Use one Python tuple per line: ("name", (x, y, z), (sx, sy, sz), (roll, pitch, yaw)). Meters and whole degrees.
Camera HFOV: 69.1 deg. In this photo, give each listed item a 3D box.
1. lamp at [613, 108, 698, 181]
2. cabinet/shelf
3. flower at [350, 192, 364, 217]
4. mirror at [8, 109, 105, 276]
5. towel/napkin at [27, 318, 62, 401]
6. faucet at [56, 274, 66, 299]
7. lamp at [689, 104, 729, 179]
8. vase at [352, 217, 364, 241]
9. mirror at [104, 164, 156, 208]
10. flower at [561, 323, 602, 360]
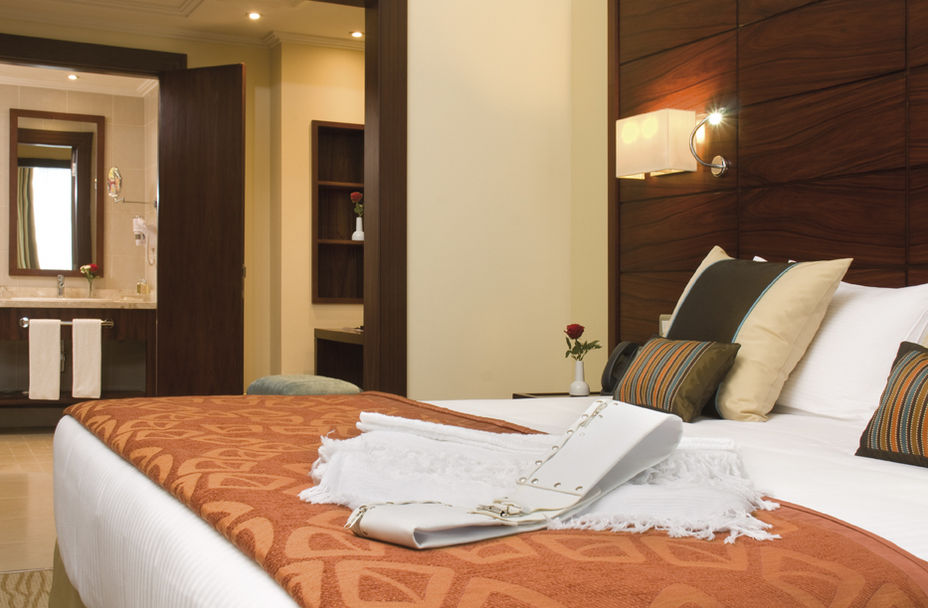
("lamp", (1.041, -0.862, 3.624), (0.222, 0.328, 0.417), (-1, 5, -28))
("cabinet/shelf", (-1.182, -0.844, 6.373), (0.482, 1.692, 0.393), (1, 6, -12))
("flower", (-1.005, -0.947, 6.357), (0.106, 0.245, 0.266), (1, 5, -12))
("mirror", (-3.884, -1.056, 6.466), (0.795, 1.577, 0.213), (0, 6, -22))
("towel/napkin", (-3.422, 0.465, 5.522), (0.222, 0.669, 0.196), (-1, 7, -31))
("faucet", (-3.826, -0.177, 6.418), (0.078, 0.213, 0.153), (-1, 6, -31))
("lamp", (1.254, -0.824, 3.419), (0.090, 0.349, 0.224), (-2, 7, -37))
("vase", (-0.990, -0.706, 6.333), (0.091, 0.235, 0.139), (1, 5, -5))
("mirror", (-3.257, -1.142, 6.597), (0.475, 0.405, 0.284), (1, 5, -15))
("flower", (0.655, 0.215, 3.826), (0.247, 0.245, 0.252), (0, -7, 3))
